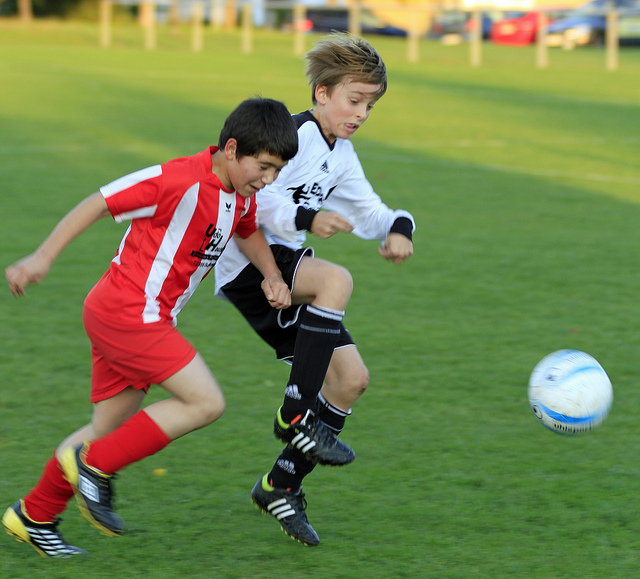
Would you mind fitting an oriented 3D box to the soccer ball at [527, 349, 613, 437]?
[{"bbox_3d":[0.955,0.409,4.226,0.282,0.302,0.281,3,18,-1],"label":"soccer ball"}]

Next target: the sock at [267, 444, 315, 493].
[{"bbox_3d":[-0.111,0.649,3.973,0.159,0.154,0.080,4,19,4],"label":"sock"}]

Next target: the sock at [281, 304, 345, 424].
[{"bbox_3d":[-0.034,0.270,3.953,0.174,0.452,0.151,21,16,29],"label":"sock"}]

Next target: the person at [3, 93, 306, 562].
[{"bbox_3d":[-0.550,0.122,3.835,0.552,1.553,1.029,20,25,39],"label":"person"}]

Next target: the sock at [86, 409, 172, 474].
[{"bbox_3d":[-0.647,0.523,3.766,0.296,0.163,0.118,-32,-9,-12],"label":"sock"}]
